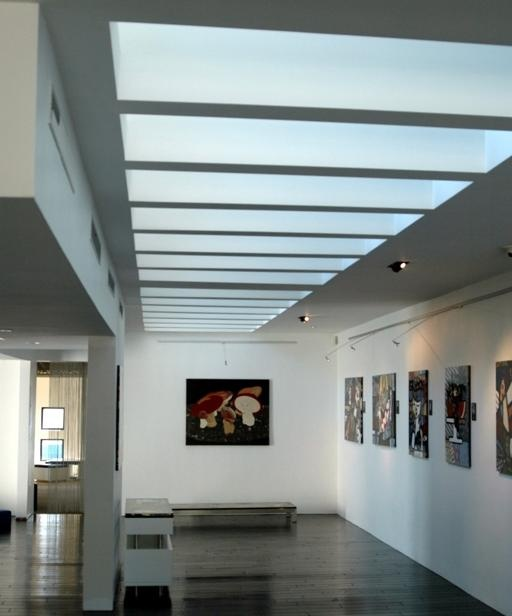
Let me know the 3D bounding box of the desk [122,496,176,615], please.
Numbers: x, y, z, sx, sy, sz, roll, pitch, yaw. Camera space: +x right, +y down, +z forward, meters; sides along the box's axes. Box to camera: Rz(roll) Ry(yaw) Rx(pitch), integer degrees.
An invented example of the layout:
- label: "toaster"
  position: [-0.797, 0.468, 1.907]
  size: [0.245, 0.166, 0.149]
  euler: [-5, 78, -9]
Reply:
- label: "desk"
  position: [-1.211, 2.703, 6.361]
  size: [0.558, 0.982, 1.136]
  euler: [2, -11, -13]

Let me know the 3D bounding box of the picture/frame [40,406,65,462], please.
- label: "picture/frame"
  position: [-5.502, 3.415, 15.372]
  size: [0.640, 1.470, 0.980]
  euler: [3, -10, -22]
